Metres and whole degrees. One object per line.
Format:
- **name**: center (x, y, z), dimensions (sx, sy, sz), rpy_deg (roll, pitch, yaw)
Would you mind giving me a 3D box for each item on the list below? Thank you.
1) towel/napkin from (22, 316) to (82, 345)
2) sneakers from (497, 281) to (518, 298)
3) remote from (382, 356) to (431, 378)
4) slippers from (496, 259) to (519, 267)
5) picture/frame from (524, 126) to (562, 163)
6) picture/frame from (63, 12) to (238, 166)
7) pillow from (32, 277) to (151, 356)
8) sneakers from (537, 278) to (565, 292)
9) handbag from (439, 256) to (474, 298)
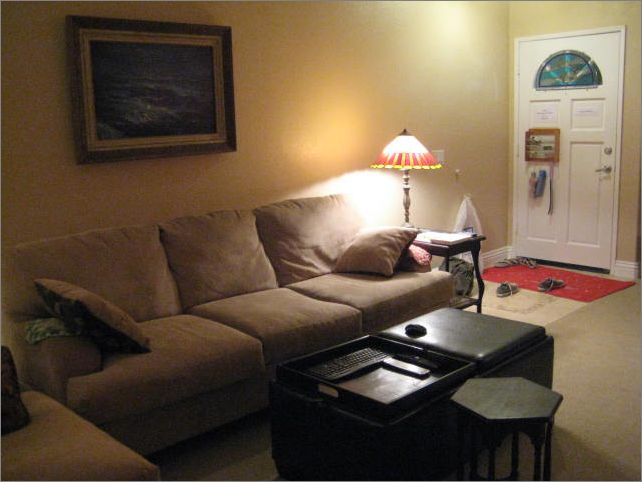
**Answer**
- **towel/napkin**: center (-1.382, 0.454, 2.545), dimensions (0.222, 0.039, 0.152), rpy_deg (-6, 24, -36)
- **sneakers**: center (1.800, 0.469, 4.902), dimensions (0.242, 0.115, 0.107), rpy_deg (-12, 15, -37)
- **remote**: center (0.427, 0.632, 2.507), dimensions (0.170, 0.024, 0.083), rpy_deg (11, 12, 40)
- **slippers**: center (2.101, 0.253, 5.742), dimensions (0.271, 0.059, 0.206), rpy_deg (-12, 15, -38)
- **picture/frame**: center (2.493, -1.076, 5.598), dimensions (0.139, 0.377, 0.394), rpy_deg (-14, 16, -28)
- **picture/frame**: center (-1.186, -1.037, 3.365), dimensions (1.150, 0.837, 0.079), rpy_deg (-9, 10, -43)
- **pillow**: center (-1.182, 0.395, 2.521), dimensions (0.549, 0.387, 0.242), rpy_deg (1, 13, 18)
- **sneakers**: center (2.278, 0.425, 4.966), dimensions (0.309, 0.107, 0.122), rpy_deg (-8, 13, -24)
- **handbag**: center (1.197, 0.332, 4.415), dimensions (0.289, 0.128, 0.363), rpy_deg (20, 34, 41)
